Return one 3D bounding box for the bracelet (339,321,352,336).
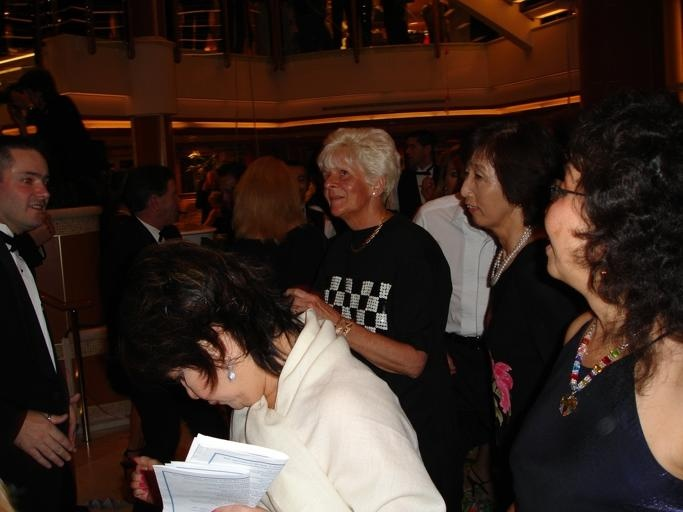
[{"bbox_3d":[0.015,0.278,2.176,0.037,0.016,0.052,15,40,-4],"label":"bracelet"}]

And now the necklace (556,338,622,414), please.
[{"bbox_3d":[0.678,0.340,1.544,0.043,0.183,0.139,27,-8,-17],"label":"necklace"}]
